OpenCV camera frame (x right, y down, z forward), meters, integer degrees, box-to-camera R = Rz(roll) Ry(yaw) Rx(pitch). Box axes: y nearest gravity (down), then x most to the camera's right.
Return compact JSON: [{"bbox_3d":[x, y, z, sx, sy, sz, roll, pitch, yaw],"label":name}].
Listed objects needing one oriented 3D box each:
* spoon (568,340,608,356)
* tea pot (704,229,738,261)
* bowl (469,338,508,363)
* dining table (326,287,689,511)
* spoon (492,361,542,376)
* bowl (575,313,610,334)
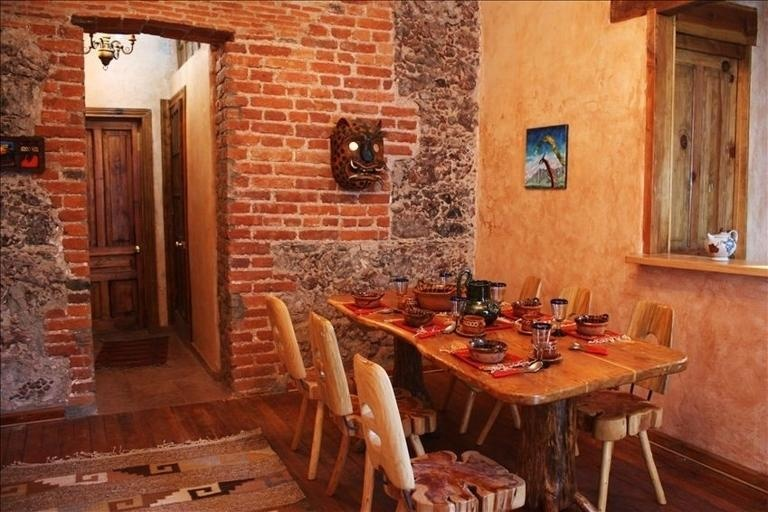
[{"bbox_3d":[1.218,0.539,3.072,0.075,0.036,0.243,4,-3,-12],"label":"spoon"},{"bbox_3d":[2.412,-0.076,3.702,0.205,0.195,0.158,2,13,10],"label":"tea pot"},{"bbox_3d":[0.589,0.537,2.930,0.225,0.094,0.164,-3,12,-12],"label":"bowl"},{"bbox_3d":[0.928,0.420,2.965,1.146,0.650,2.142,-4,6,-24],"label":"dining table"},{"bbox_3d":[0.719,0.615,2.801,0.199,0.045,0.104,1,2,-16],"label":"spoon"},{"bbox_3d":[1.343,0.431,3.330,0.140,0.081,0.155,-1,-2,28],"label":"bowl"}]
